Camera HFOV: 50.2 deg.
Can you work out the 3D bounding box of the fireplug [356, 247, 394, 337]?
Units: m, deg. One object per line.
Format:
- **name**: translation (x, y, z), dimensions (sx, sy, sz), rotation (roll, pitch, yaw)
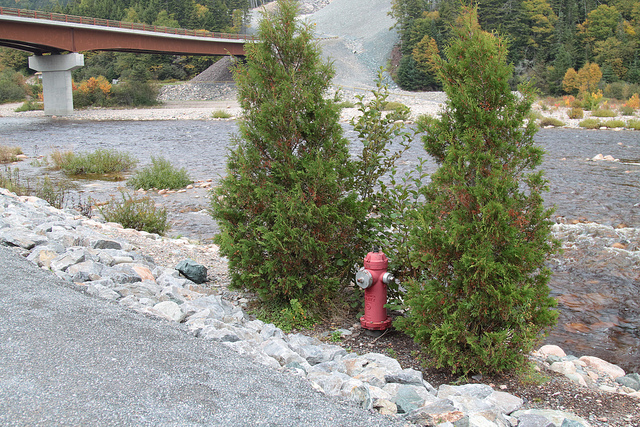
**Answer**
- **fireplug**: translation (1.059, 1.592, 13.325), dimensions (0.730, 1.616, 0.397), rotation (2, 14, 4)
